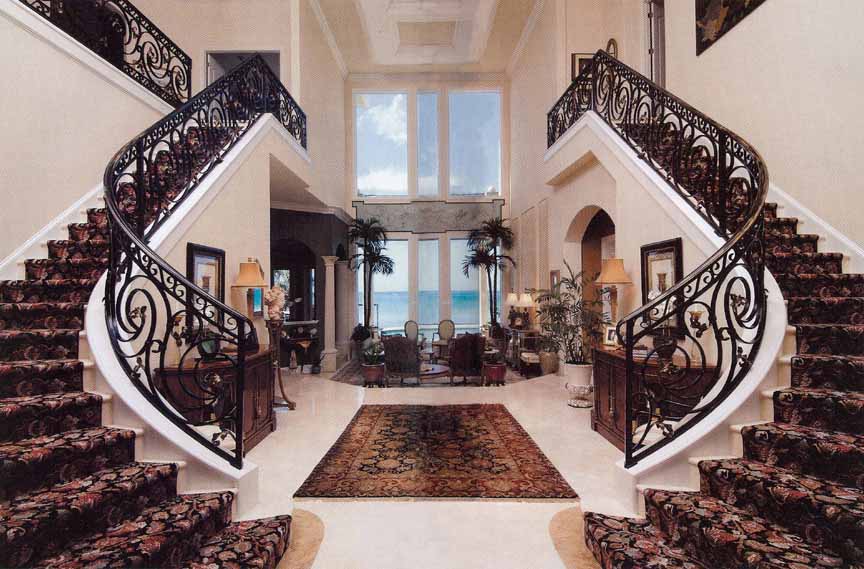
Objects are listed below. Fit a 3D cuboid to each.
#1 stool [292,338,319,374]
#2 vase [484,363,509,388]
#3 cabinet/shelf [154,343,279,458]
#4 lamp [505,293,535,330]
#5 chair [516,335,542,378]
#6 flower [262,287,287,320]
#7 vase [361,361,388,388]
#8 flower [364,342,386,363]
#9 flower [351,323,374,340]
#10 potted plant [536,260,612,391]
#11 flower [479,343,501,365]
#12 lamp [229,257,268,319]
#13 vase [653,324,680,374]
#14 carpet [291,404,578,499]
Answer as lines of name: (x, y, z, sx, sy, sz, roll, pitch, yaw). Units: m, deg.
stool: (-2.671, 1.502, 12.482, 0.671, 0.967, 0.700, -1, -5, -8)
vase: (1.160, 1.674, 10.781, 0.357, 0.379, 0.381, 1, -4, -3)
cabinet/shelf: (-2.654, 1.536, 7.676, 0.768, 1.202, 2.244, 0, -4, -4)
lamp: (1.948, 0.581, 12.754, 0.627, 0.780, 0.752, 0, -2, -4)
chair: (2.009, 1.497, 11.825, 0.552, 0.949, 0.731, -4, 2, -12)
flower: (-2.442, 0.263, 8.995, 0.453, 0.203, 0.471, 11, -34, -16)
vase: (-1.096, 1.685, 10.980, 0.446, 0.517, 0.464, 0, -2, -3)
flower: (-1.107, 1.313, 11.097, 0.359, 0.419, 0.392, 1, -10, -5)
flower: (-1.636, 1.146, 13.599, 0.453, 0.357, 0.201, -1, -5, -9)
potted plant: (2.458, 0.761, 10.373, 1.170, 2.398, 3.652, -2, -5, 11)
flower: (1.110, 1.334, 11.238, 0.336, 0.211, 0.353, -1, -3, -3)
lamp: (-2.541, 0.080, 8.144, 0.451, 0.737, 0.453, -3, -2, 1)
vase: (2.421, 0.727, 6.115, 0.289, 0.537, 0.353, 1, -10, 10)
carpet: (-0.020, 2.097, 7.436, 2.879, 0.695, 2.403, -2, -5, 1)
